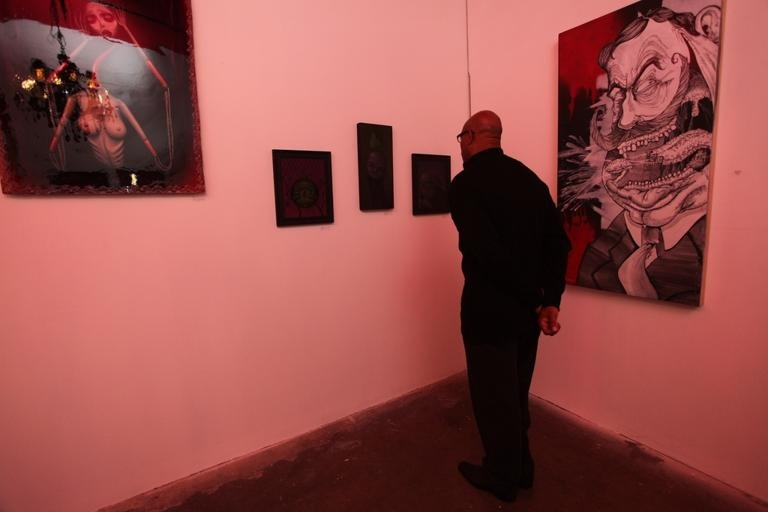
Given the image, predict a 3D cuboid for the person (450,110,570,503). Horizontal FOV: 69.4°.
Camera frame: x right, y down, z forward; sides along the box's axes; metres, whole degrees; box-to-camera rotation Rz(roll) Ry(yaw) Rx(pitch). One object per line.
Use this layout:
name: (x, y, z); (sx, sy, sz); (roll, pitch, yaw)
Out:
person: (0.765, 0.316, 3.477); (0.690, 2.399, 0.496); (1, 12, 19)

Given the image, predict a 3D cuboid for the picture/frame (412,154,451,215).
picture/frame: (0.352, -0.574, 4.383); (0.446, 0.547, 0.038); (-6, 9, -40)

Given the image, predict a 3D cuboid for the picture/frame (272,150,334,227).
picture/frame: (-0.602, -0.480, 3.877); (0.485, 0.594, 0.040); (-5, 9, -36)

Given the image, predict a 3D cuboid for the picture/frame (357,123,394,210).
picture/frame: (-0.079, -0.656, 4.151); (0.313, 0.664, 0.076); (-10, 13, -32)
